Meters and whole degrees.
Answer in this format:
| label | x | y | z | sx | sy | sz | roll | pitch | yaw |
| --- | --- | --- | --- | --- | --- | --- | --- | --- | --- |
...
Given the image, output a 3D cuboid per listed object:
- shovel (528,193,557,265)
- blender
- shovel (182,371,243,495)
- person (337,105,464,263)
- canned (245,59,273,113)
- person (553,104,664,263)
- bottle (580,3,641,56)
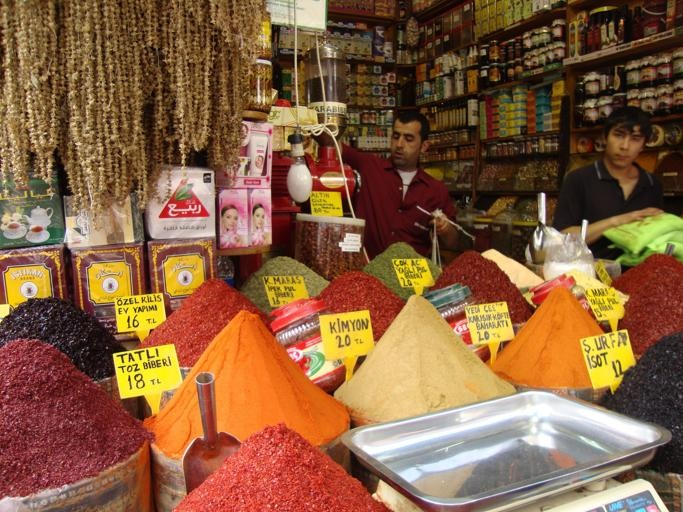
| label | x | y | z | sx | sy | sz | roll | pitch | yaw |
| --- | --- | --- | --- | --- | --- | --- | --- | --- | --- |
| shovel | 0.719 | -0.085 | 1.861 | 0.104 | 0.277 | 0.101 | -2 | 8 | 10 |
| blender | -0.039 | -0.603 | 2.245 | 0.219 | 0.694 | 0.611 | -3 | 8 | -4 |
| shovel | -0.223 | 0.284 | 0.853 | 0.084 | 0.189 | 0.085 | -9 | 10 | -38 |
| person | 0.357 | -0.449 | 3.237 | 0.517 | 0.886 | 0.657 | 3 | 10 | 35 |
| canned | -0.261 | -0.523 | 1.605 | 0.096 | 0.160 | 0.102 | 3 | 15 | -4 |
| person | 1.397 | -0.401 | 2.789 | 0.533 | 0.759 | 0.686 | 3 | 10 | 34 |
| bottle | 1.971 | -1.673 | 3.834 | 0.148 | 0.315 | 0.538 | -5 | 9 | -21 |
